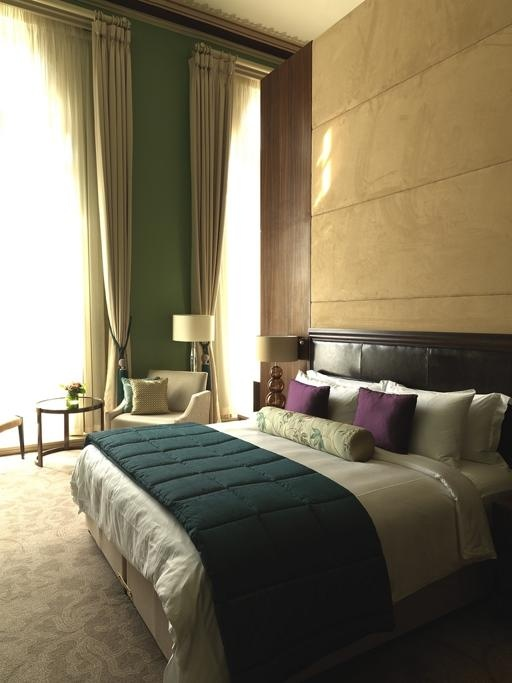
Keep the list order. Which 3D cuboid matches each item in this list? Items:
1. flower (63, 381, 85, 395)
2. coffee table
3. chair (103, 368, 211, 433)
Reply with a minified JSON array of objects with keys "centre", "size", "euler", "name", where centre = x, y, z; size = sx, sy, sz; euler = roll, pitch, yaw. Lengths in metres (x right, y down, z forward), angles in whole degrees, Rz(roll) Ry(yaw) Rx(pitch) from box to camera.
[{"centre":[-1.674,0.426,4.256],"size":[0.178,0.140,0.159],"euler":[0,1,-30],"name":"flower"},{"centre":[-1.768,0.739,4.369],"size":[0.548,0.762,0.560],"euler":[-6,12,-39],"name":"coffee table"},{"centre":[-0.797,0.542,4.220],"size":[0.532,0.793,0.628],"euler":[-1,-3,21],"name":"chair"}]
